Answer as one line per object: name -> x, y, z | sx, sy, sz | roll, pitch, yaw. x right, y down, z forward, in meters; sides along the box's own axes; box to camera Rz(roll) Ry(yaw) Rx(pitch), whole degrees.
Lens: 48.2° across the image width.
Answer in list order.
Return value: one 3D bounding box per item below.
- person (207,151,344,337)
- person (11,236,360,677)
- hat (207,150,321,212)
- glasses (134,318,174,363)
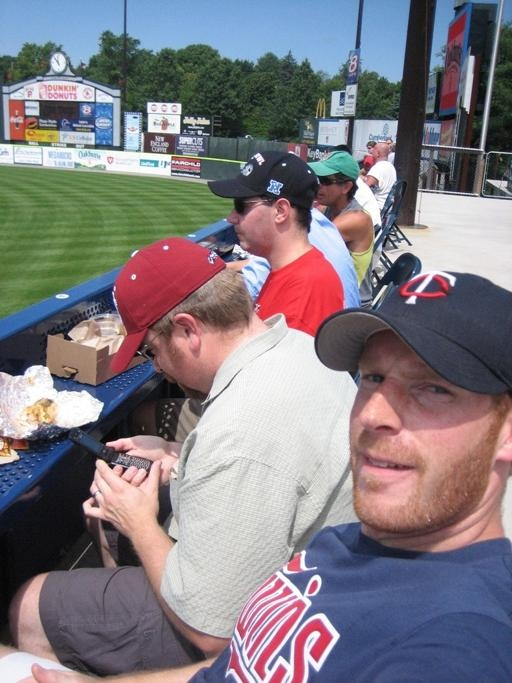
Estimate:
person -> 0.155, -0.474, 2.995 | 0.670, 0.887, 0.725 | -5, 7, -22
person -> -0.119, 0.177, 2.067 | 1.245, 1.523, 0.904 | 10, 19, 27
hat -> 0.056, -0.855, 3.006 | 0.533, 0.245, 0.314 | 4, 22, 5
glasses -> -0.297, -0.009, 1.667 | 0.067, 0.140, 0.088 | 51, 31, 0
